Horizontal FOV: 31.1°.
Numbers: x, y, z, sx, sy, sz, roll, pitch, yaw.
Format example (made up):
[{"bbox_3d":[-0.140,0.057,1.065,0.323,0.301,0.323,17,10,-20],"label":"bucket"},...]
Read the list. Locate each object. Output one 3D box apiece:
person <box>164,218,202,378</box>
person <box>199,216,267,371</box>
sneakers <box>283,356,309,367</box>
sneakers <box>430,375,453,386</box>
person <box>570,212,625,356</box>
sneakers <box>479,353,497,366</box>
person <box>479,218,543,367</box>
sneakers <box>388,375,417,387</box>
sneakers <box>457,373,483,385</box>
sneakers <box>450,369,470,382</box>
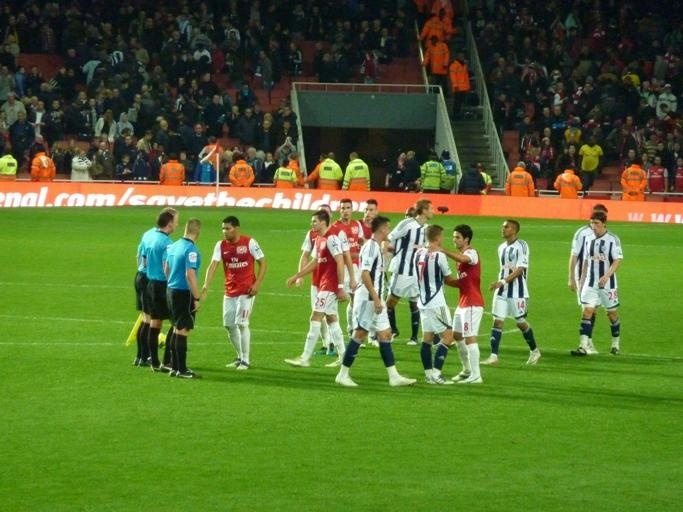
[{"bbox_3d":[-2.790,0.776,21.454,0.571,2.721,0.687,-1,12,-11],"label":"person"},{"bbox_3d":[-1.889,0.707,22.113,1.036,2.768,0.744,10,14,35],"label":"person"},{"bbox_3d":[-0.844,1.966,22.376,0.468,0.210,0.176,5,4,5],"label":"sneakers"},{"bbox_3d":[1.771,2.233,21.699,0.447,0.189,0.155,1,0,-4],"label":"sneakers"},{"bbox_3d":[5.086,0.584,24.026,0.840,2.794,0.995,4,12,13],"label":"person"},{"bbox_3d":[2.724,1.977,23.156,0.400,0.197,0.139,1,5,27],"label":"sneakers"},{"bbox_3d":[3.229,0.709,23.105,1.012,2.696,0.849,0,12,-5],"label":"person"},{"bbox_3d":[1.053,2.187,21.442,0.553,0.267,0.178,-7,8,0],"label":"sneakers"},{"bbox_3d":[2.273,2.207,21.667,0.466,0.213,0.164,1,1,9],"label":"sneakers"},{"bbox_3d":[2.120,2.164,21.804,0.392,0.177,0.147,-13,3,12],"label":"sneakers"}]
